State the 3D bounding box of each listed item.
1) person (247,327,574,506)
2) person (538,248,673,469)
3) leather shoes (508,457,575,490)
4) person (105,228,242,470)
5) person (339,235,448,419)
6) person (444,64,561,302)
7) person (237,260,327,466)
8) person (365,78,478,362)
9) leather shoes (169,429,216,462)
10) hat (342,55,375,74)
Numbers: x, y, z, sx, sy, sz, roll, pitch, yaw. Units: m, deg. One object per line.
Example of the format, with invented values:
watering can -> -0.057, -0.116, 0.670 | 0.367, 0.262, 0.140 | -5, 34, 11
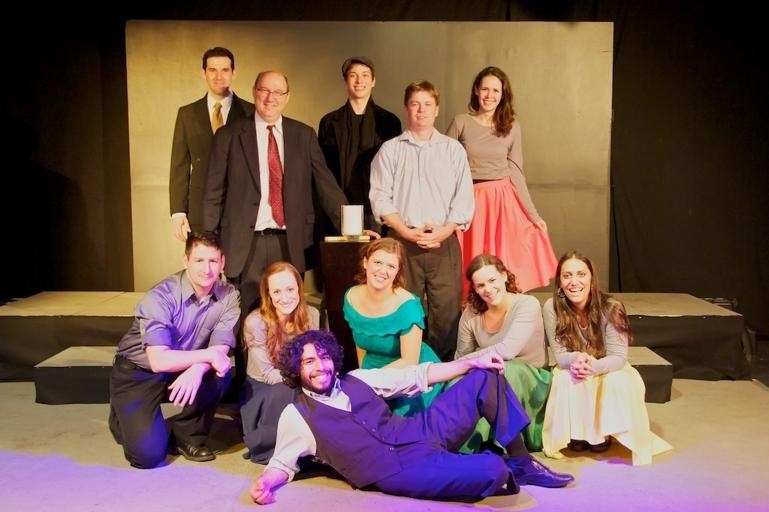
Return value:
person -> 0.084, 0.926, 3.254 | 1.262, 0.798, 1.032 | 2, 19, 28
person -> 1.333, 0.639, 3.798 | 0.675, 1.248, 0.832 | -6, 0, 10
leather shoes -> 0.928, 1.225, 3.431 | 0.427, 0.203, 0.164 | -2, 3, 4
person -> -1.284, 0.611, 3.708 | 0.650, 1.324, 0.797 | 17, 17, 40
person -> 0.037, 0.498, 3.934 | 0.573, 1.295, 0.854 | 6, 18, 33
person -> 0.876, -0.441, 4.587 | 0.773, 1.917, 0.612 | 3, 35, 21
person -> -0.625, 0.670, 3.718 | 0.493, 1.192, 0.683 | -4, 5, -22
person -> 0.289, -0.080, 4.394 | 0.700, 2.304, 0.610 | 3, 28, 12
leather shoes -> -1.187, 1.179, 3.731 | 0.320, 0.162, 0.128 | 3, 2, 29
hat -> -0.183, -1.510, 4.756 | 0.198, 0.067, 0.199 | -7, 11, -36
